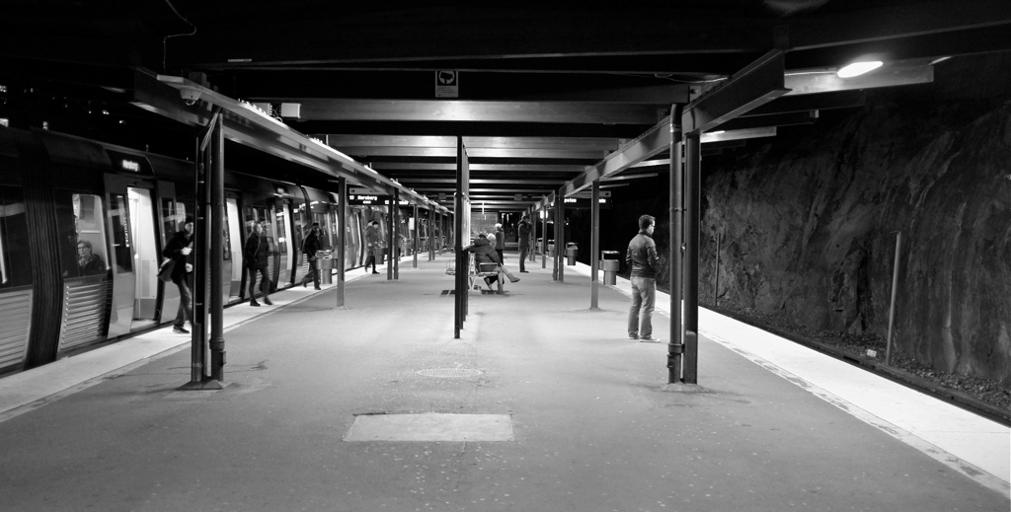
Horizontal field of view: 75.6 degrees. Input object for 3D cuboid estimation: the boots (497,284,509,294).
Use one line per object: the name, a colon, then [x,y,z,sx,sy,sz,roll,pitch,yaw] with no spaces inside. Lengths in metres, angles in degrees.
boots: [-0.099,1.000,21.974,0.340,0.301,0.587,-5,-2,7]

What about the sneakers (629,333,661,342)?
sneakers: [3.147,1.819,14.759,0.666,0.220,0.210,-1,-1,0]

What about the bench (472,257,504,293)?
bench: [-0.660,0.672,22.610,1.282,1.267,1.129,0,-2,13]

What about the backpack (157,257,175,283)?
backpack: [-7.698,0.302,14.835,0.328,0.503,0.544,19,13,-41]

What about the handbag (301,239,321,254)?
handbag: [-7.025,-0.371,23.554,0.540,0.460,0.562,1,1,34]

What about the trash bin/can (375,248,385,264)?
trash bin/can: [-7.382,-0.076,38.057,0.770,0.930,1.060,0,0,2]

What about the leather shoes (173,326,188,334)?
leather shoes: [-7.516,1.693,15.042,0.215,0.147,0.440,-29,-17,19]

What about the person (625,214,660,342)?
person: [3.107,0.455,14.986,0.657,2.790,0.842,1,3,10]
